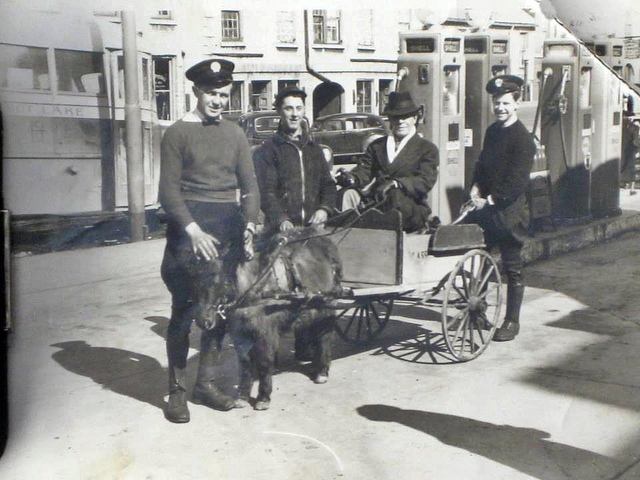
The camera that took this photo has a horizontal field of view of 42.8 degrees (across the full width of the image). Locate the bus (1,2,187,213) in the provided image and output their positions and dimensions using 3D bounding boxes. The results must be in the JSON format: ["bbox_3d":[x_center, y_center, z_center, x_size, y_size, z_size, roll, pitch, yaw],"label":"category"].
[{"bbox_3d":[-2.724,-1.635,9.529,0.756,1.350,2.548,3,8,16],"label":"bus"}]

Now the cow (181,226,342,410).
[{"bbox_3d":[-0.383,0.539,6.309,0.527,1.301,1.815,8,12,32],"label":"cow"}]

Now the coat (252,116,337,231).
[{"bbox_3d":[-0.201,-0.533,6.809,0.641,0.909,0.329,-9,22,-26],"label":"coat"}]

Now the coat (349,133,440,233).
[{"bbox_3d":[0.667,-0.490,7.158,0.751,0.931,0.645,24,30,33],"label":"coat"}]

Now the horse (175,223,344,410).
[{"bbox_3d":[-0.376,0.429,6.251,0.476,1.575,1.628,7,10,41],"label":"horse"}]

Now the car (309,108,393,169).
[{"bbox_3d":[0.599,-2.221,17.045,2.233,1.082,1.395,1,6,6],"label":"car"}]

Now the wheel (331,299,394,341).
[{"bbox_3d":[0.384,0.754,7.561,0.442,0.464,0.143,-5,12,-24],"label":"wheel"}]

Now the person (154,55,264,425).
[{"bbox_3d":[-0.839,-0.025,6.140,0.788,2.621,0.979,-2,13,-9],"label":"person"}]
